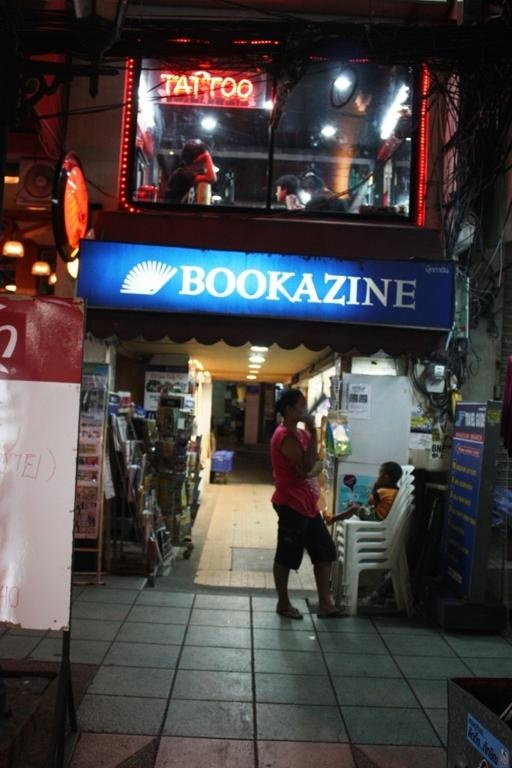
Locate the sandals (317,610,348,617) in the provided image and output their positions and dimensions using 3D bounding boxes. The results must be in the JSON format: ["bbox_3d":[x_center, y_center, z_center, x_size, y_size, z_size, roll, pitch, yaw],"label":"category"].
[{"bbox_3d":[0.621,1.848,4.760,0.240,0.072,0.091,0,1,-6],"label":"sandals"}]

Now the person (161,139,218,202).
[{"bbox_3d":[-0.719,-2.273,6.676,0.539,0.877,0.511,7,9,-28],"label":"person"}]

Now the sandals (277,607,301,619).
[{"bbox_3d":[0.270,1.798,4.717,0.153,0.072,0.082,0,0,16],"label":"sandals"}]

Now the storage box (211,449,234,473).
[{"bbox_3d":[-0.759,1.753,13.196,0.455,0.458,0.478,2,10,2],"label":"storage box"}]

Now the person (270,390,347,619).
[{"bbox_3d":[0.384,0.972,4.820,0.459,1.834,0.530,-1,-2,44],"label":"person"}]

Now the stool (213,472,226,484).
[{"bbox_3d":[-0.824,2.092,13.249,0.230,0.363,0.262,1,-3,-14],"label":"stool"}]
